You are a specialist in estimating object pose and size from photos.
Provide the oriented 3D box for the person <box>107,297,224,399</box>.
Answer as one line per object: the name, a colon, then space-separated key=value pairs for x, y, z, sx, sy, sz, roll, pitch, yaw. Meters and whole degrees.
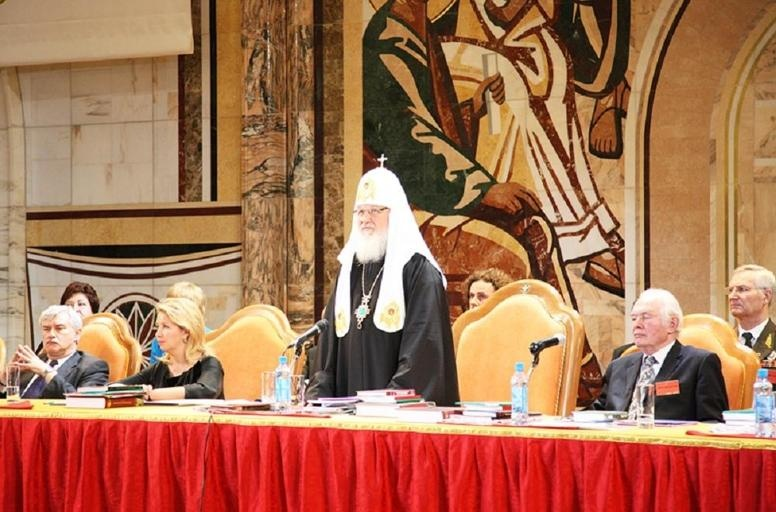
person: x=-2.227 y=1.034 z=17.145 sx=1.132 sy=1.174 sz=1.283 roll=-3 pitch=-1 yaw=-41

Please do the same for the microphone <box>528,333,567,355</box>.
microphone: x=1.570 y=0.861 z=16.003 sx=0.521 sy=0.160 sz=0.158 roll=-14 pitch=20 yaw=-38

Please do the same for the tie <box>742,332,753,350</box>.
tie: x=3.919 y=0.913 z=18.068 sx=0.111 sy=0.197 sz=0.045 roll=-15 pitch=-23 yaw=36

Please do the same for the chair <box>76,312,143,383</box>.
chair: x=-3.085 y=1.067 z=18.762 sx=0.665 sy=1.114 sz=0.690 roll=-4 pitch=-25 yaw=-1

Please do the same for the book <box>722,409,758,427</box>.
book: x=3.265 y=1.501 z=15.423 sx=0.285 sy=0.151 sz=0.160 roll=-4 pitch=-8 yaw=14

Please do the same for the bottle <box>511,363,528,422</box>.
bottle: x=1.238 y=1.271 z=15.634 sx=0.163 sy=0.552 sz=0.206 roll=-2 pitch=-7 yaw=4

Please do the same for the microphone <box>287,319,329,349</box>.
microphone: x=-0.868 y=0.865 z=18.034 sx=0.472 sy=0.113 sz=0.112 roll=-42 pitch=-9 yaw=4

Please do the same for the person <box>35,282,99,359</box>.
person: x=-3.637 y=0.685 z=19.680 sx=0.447 sy=0.796 sz=0.405 roll=2 pitch=5 yaw=-5

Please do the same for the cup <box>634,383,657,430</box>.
cup: x=2.418 y=1.405 z=15.606 sx=0.154 sy=0.411 sz=0.238 roll=-3 pitch=-7 yaw=12

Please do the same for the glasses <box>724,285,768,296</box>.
glasses: x=3.920 y=0.374 z=18.043 sx=0.392 sy=0.094 sz=0.111 roll=-5 pitch=-8 yaw=22
